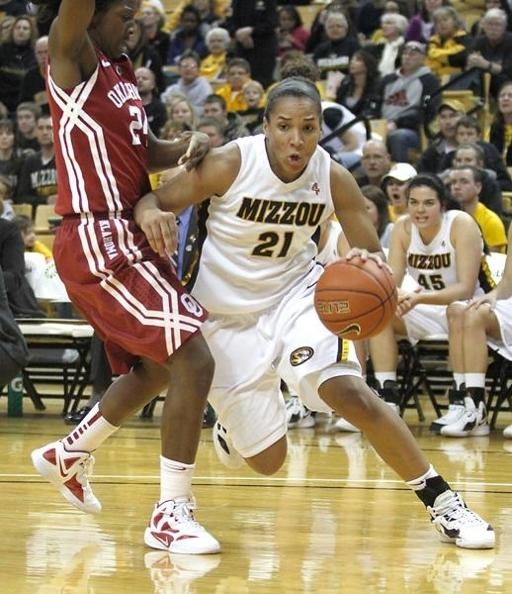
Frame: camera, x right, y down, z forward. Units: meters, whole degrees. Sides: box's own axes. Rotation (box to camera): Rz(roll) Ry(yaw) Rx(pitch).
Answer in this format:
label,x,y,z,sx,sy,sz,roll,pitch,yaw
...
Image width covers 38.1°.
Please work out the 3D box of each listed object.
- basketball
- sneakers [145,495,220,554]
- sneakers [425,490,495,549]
label,x,y,z,sx,sy,sz,roll,pitch,yaw
basketball,0.288,0.018,2.174,0.258,0.254,0.244,-8,-8,25
sneakers,-0.209,0.621,2.025,0.096,0.101,0.254,7,-8,-44
sneakers,0.575,0.631,2.099,0.121,0.126,0.302,-17,-7,-14
